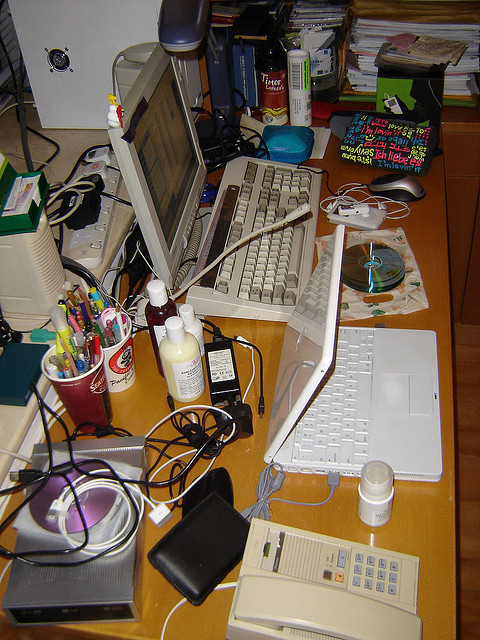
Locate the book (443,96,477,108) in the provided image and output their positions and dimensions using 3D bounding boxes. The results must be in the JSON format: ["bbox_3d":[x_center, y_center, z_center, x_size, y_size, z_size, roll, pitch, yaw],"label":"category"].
[{"bbox_3d":[0.653,-0.651,1.435,0.050,0.013,0.054,8,39,11],"label":"book"}]

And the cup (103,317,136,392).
[{"bbox_3d":[-0.180,0.057,0.788,0.053,0.102,0.077,4,38,5],"label":"cup"}]

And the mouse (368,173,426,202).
[{"bbox_3d":[0.378,-0.318,1.151,0.132,0.045,0.059,16,47,21],"label":"mouse"}]

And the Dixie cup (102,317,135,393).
[{"bbox_3d":[-0.182,0.059,0.786,0.058,0.109,0.062,-4,42,4],"label":"Dixie cup"}]

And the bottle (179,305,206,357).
[{"bbox_3d":[-0.076,0.018,0.739,0.031,0.081,0.032,-5,54,7],"label":"bottle"}]

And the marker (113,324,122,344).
[{"bbox_3d":[-0.185,0.021,0.720,0.011,0.033,0.007,-16,42,-12],"label":"marker"}]

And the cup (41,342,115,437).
[{"bbox_3d":[-0.235,0.104,0.706,0.077,0.121,0.080,-4,33,2],"label":"cup"}]

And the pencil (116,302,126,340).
[{"bbox_3d":[-0.186,0.004,0.741,0.006,0.063,0.007,-6,13,23],"label":"pencil"}]

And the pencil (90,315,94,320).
[{"bbox_3d":[-0.220,-0.004,0.709,0.006,0.005,0.001,2,1,32],"label":"pencil"}]

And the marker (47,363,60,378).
[{"bbox_3d":[-0.254,0.070,0.648,0.013,0.017,0.020,-17,44,-13],"label":"marker"}]

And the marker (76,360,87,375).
[{"bbox_3d":[-0.215,0.064,0.648,0.008,0.020,0.007,-1,65,-8],"label":"marker"}]

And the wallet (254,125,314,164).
[{"bbox_3d":[0.125,-0.474,1.277,0.119,0.037,0.134,7,66,7],"label":"wallet"}]

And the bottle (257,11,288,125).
[{"bbox_3d":[0.090,-0.679,1.322,0.076,0.267,0.077,-4,46,4],"label":"bottle"}]

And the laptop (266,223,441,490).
[{"bbox_3d":[0.167,0.017,0.713,0.253,0.247,0.329,-1,33,18],"label":"laptop"}]

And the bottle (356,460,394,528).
[{"bbox_3d":[0.167,0.216,0.595,0.040,0.093,0.043,-3,41,3],"label":"bottle"}]

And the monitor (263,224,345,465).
[{"bbox_3d":[0.092,0.020,0.699,0.096,0.271,0.316,4,43,11],"label":"monitor"}]

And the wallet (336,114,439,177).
[{"bbox_3d":[0.380,-0.452,1.239,0.231,0.089,0.137,17,47,22],"label":"wallet"}]

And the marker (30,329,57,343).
[{"bbox_3d":[-0.330,0.026,0.800,0.036,0.010,0.021,5,46,-11],"label":"marker"}]

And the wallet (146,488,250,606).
[{"bbox_3d":[-0.049,0.264,0.558,0.076,0.026,0.106,32,54,19],"label":"wallet"}]

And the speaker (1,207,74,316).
[{"bbox_3d":[-0.341,-0.091,0.795,0.124,0.192,0.104,-3,47,-5],"label":"speaker"}]

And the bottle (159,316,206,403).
[{"bbox_3d":[-0.091,0.057,0.734,0.057,0.155,0.061,-2,44,2],"label":"bottle"}]
